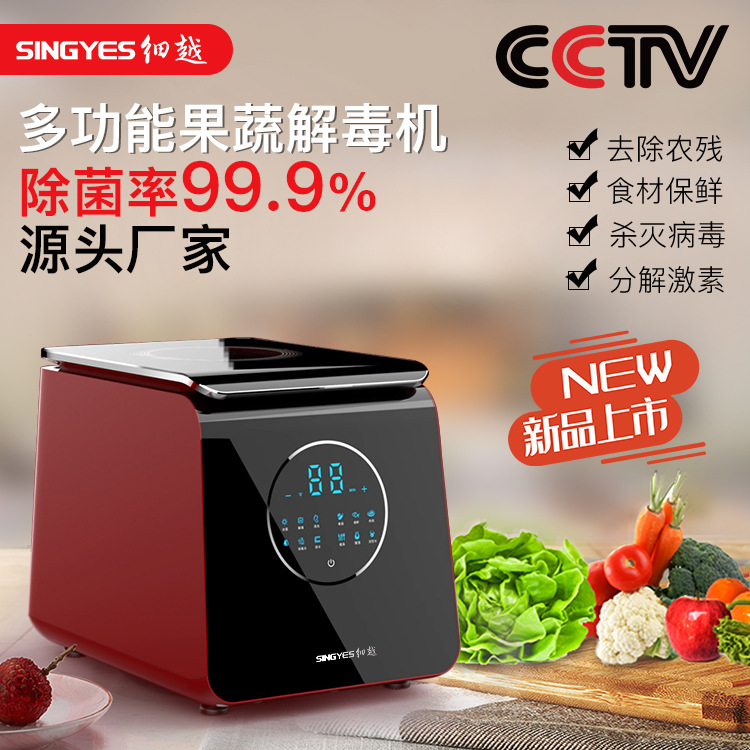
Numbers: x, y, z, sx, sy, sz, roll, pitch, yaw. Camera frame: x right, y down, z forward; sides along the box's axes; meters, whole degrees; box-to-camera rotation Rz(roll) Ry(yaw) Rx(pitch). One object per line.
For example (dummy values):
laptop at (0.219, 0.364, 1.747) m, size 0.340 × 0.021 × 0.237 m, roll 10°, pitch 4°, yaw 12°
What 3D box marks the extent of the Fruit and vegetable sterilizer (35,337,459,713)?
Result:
Fruit and vegetable sterilizer at (-0.133, 0.140, 0.730) m, size 0.248 × 0.206 × 0.335 m, roll 2°, pitch -3°, yaw -42°
